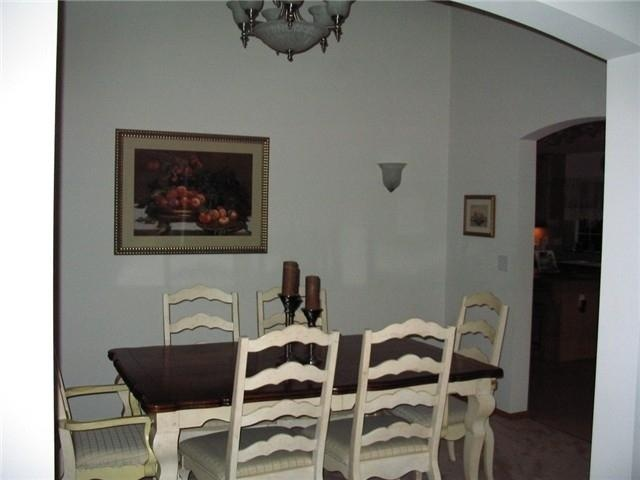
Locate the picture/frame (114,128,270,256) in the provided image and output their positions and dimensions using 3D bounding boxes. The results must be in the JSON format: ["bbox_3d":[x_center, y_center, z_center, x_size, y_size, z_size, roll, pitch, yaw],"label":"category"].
[{"bbox_3d":[-1.093,-0.395,4.406,0.996,0.839,0.043,0,6,-20],"label":"picture/frame"}]

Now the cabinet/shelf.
[{"bbox_3d":[2.817,0.894,6.255,0.730,0.966,0.429,0,4,10],"label":"cabinet/shelf"}]

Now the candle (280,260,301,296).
[{"bbox_3d":[-0.177,0.229,3.151,0.100,0.201,0.094,-1,4,-8],"label":"candle"}]

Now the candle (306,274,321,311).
[{"bbox_3d":[-0.044,0.309,3.115,0.086,0.194,0.086,-1,4,-7],"label":"candle"}]

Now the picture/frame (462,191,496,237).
[{"bbox_3d":[1.447,-0.231,4.908,0.026,0.421,0.391,-5,4,-36],"label":"picture/frame"}]

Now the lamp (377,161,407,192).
[{"bbox_3d":[0.665,-0.574,5.006,0.252,0.274,0.293,0,3,9],"label":"lamp"}]
